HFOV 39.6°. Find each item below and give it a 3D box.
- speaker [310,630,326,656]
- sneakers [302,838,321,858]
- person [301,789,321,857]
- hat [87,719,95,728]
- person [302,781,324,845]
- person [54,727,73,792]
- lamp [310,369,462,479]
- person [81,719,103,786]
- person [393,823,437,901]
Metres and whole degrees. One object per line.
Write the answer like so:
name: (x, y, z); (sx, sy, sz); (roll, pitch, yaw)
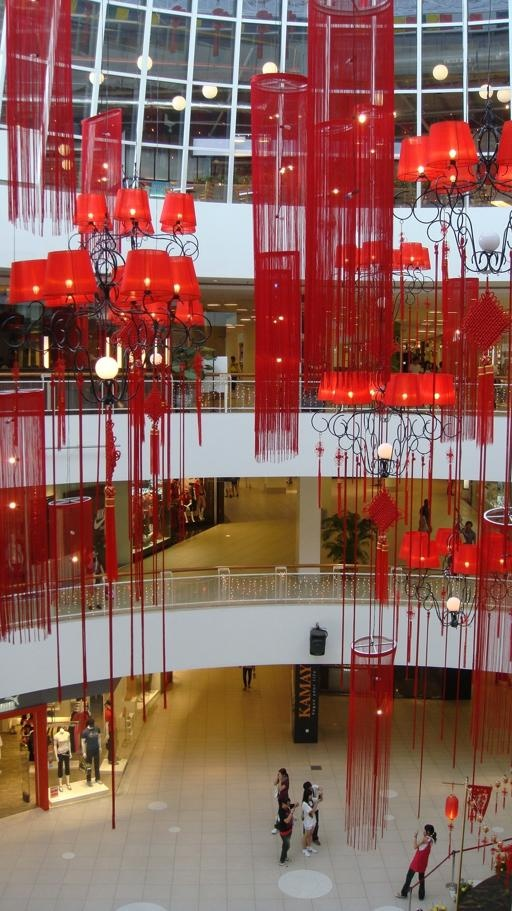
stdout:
speaker: (0.922, 2.814, 10.634); (0.256, 0.471, 0.309); (1, 1, 4)
sneakers: (0.697, 5.001, 9.055); (0.083, 0.130, 0.269); (11, 19, 26)
person: (0.695, 4.615, 9.063); (0.178, 0.815, 0.443); (1, 1, 11)
hat: (-2.473, 4.027, 10.680); (0.069, 0.130, 0.079); (2, 9, -1)
person: (0.709, 4.700, 9.148); (0.219, 0.863, 0.218); (6, 10, 35)
person: (-2.832, 4.451, 10.437); (0.267, 0.942, 0.144); (0, 1, -35)
lamp: (1.403, -0.304, 7.663); (1.095, 1.202, 1.268); (1, 8, -7)
person: (-2.444, 4.435, 10.664); (0.272, 1.122, 0.200); (-7, 17, -24)
person: (1.896, 4.593, 8.372); (0.373, 0.923, 1.054); (1, 1, 15)
